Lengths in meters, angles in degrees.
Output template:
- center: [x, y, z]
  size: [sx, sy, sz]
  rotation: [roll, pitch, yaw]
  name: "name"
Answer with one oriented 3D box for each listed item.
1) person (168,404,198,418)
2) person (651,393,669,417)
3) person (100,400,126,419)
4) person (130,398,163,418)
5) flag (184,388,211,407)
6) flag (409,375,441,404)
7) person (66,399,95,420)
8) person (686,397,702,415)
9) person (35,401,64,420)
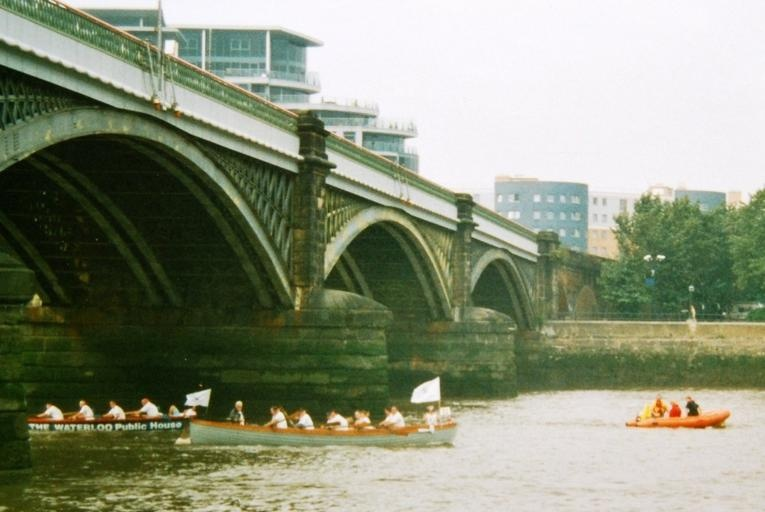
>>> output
- center: [-8.561, 6.696, 66.076]
  size: [0.925, 0.415, 0.718]
  rotation: [0, -3, 14]
  name: "person"
- center: [13.298, 7.283, 75.377]
  size: [0.827, 1.267, 0.661]
  rotation: [-3, -8, -2]
  name: "person"
- center: [-11.551, 6.606, 66.322]
  size: [0.955, 1.066, 0.681]
  rotation: [4, -6, -18]
  name: "person"
- center: [-10.070, 6.581, 66.375]
  size: [1.051, 0.994, 0.780]
  rotation: [3, 7, 21]
  name: "person"
- center: [-7.842, 5.979, 65.584]
  size: [0.736, 0.766, 0.134]
  rotation: [8, 34, 0]
  name: "flag"
- center: [1.849, 6.141, 70.608]
  size: [1.671, 1.774, 0.255]
  rotation: [1, 3, 13]
  name: "flag"
- center: [-12.852, 6.587, 66.016]
  size: [1.163, 0.988, 0.753]
  rotation: [6, -3, -6]
  name: "person"
- center: [14.728, 7.218, 74.229]
  size: [0.615, 1.209, 0.650]
  rotation: [-6, 15, 3]
  name: "person"
- center: [-14.138, 6.661, 66.062]
  size: [1.001, 0.775, 0.723]
  rotation: [7, 5, 22]
  name: "person"
